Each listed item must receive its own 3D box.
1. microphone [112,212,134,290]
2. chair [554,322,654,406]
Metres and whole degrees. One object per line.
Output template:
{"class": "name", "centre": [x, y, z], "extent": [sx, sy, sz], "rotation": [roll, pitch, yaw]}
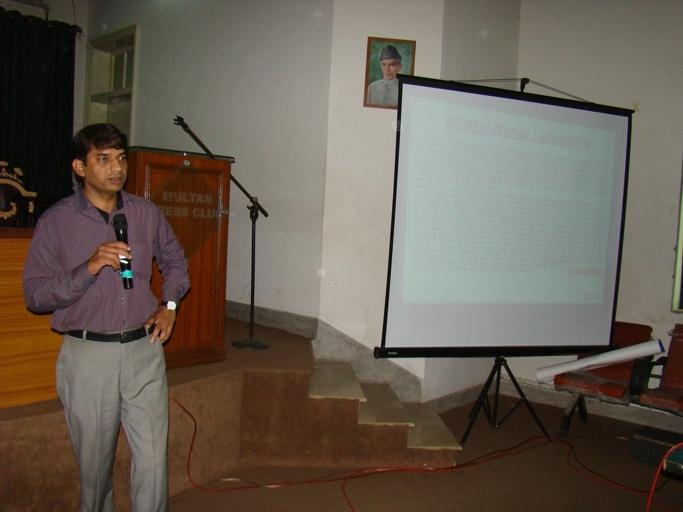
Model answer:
{"class": "microphone", "centre": [-1.142, -0.031, 2.735], "extent": [0.091, 0.352, 0.311], "rotation": [-3, 13, -24]}
{"class": "chair", "centre": [2.170, 0.848, 4.334], "extent": [0.733, 0.710, 0.543], "rotation": [7, -8, -38]}
